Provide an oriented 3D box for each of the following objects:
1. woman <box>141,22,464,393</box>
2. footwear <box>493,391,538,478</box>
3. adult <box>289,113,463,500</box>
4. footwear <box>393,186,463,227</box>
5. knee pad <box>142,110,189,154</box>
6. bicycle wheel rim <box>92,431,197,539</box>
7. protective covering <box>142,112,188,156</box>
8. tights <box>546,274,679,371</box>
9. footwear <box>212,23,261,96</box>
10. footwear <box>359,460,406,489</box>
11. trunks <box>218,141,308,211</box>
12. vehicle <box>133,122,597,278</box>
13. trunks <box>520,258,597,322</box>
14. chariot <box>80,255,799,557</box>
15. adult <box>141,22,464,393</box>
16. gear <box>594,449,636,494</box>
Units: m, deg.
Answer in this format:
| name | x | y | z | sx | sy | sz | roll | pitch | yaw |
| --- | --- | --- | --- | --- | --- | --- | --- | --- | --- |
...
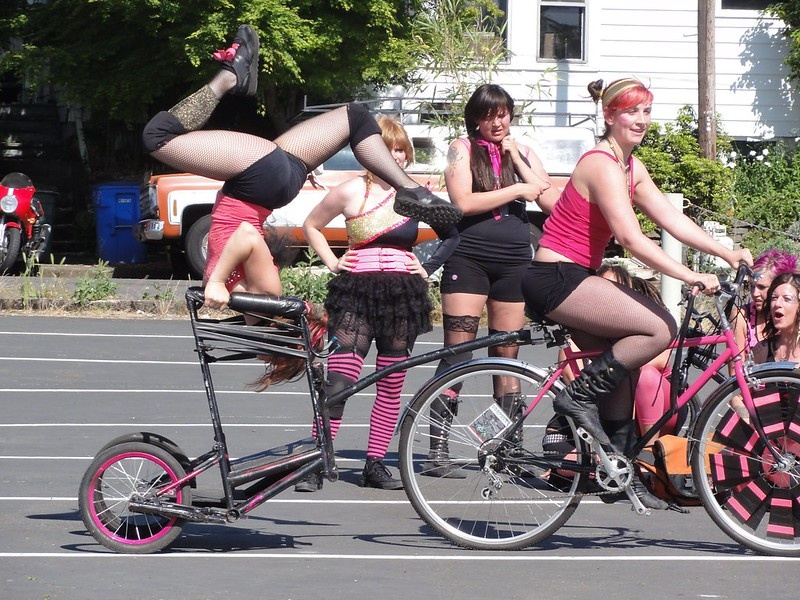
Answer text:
| name | x | y | z | sx | sy | sz | roll | pitch | yaw |
| --- | --- | --- | --- | --- | --- | --- | --- | --- | --- |
| woman | -0.502 | -0.791 | 7.624 | 2.334 | 1.790 | 0.705 | -1 | 13 | 39 |
| footwear | 0.678 | 0.816 | 7.785 | 0.135 | 0.402 | 0.305 | 29 | -40 | -10 |
| adult | -0.108 | 0.059 | 8.927 | 1.311 | 2.447 | 0.687 | 1 | 0 | -4 |
| footwear | 0.142 | -0.563 | 7.608 | 0.470 | 0.167 | 0.226 | 17 | 30 | 10 |
| knee pad | -1.429 | -0.997 | 7.577 | 0.169 | 0.255 | 0.213 | 21 | -19 | -33 |
| bicycle wheel rim | -1.588 | 1.130 | 7.871 | 0.671 | 0.728 | 0.601 | 1 | 12 | -5 |
| protective covering | -1.389 | -0.995 | 7.562 | 0.253 | 0.238 | 0.165 | -3 | 13 | -20 |
| tights | 1.299 | 0.149 | 7.644 | 0.760 | 0.292 | 0.530 | 17 | -25 | 19 |
| footwear | -0.947 | -1.417 | 7.586 | 0.274 | 0.483 | 0.189 | -8 | 10 | -42 |
| footwear | -0.074 | 1.230 | 8.946 | 0.362 | 0.170 | 0.149 | 1 | 2 | 34 |
| trunks | -0.789 | -0.743 | 7.728 | 0.473 | 0.198 | 0.355 | -11 | 3 | 35 |
| vehicle | -0.520 | -1.397 | 17.199 | 5.341 | 1.807 | 2.643 | 0 | 3 | -4 |
| trunks | 0.934 | -0.058 | 7.773 | 0.461 | 0.289 | 0.393 | 0 | 0 | -21 |
| chariot | 0.607 | 0.676 | 8.407 | 5.253 | 1.651 | 1.663 | -1 | 5 | 3 |
| adult | -0.604 | -0.839 | 8.116 | 2.357 | 1.841 | 0.698 | -9 | 31 | -37 |
| gear | 1.276 | 1.032 | 7.657 | 0.248 | 0.247 | 0.089 | -19 | 2 | 16 |
